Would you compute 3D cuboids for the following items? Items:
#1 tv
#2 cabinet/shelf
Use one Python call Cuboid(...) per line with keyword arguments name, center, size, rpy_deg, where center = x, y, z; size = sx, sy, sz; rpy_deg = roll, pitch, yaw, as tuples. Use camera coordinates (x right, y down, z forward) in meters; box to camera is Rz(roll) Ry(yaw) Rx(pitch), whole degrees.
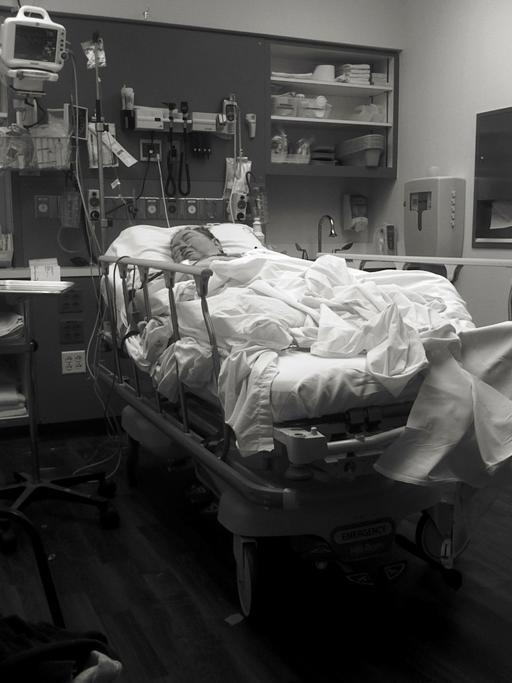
Cuboid(name="tv", center=(-1.025, -1.343, 2.474), size=(0.254, 0.230, 0.144), rpy_deg=(-8, 17, -37))
Cuboid(name="cabinet/shelf", center=(0.554, -1.772, 4.107), size=(1.132, 0.981, 0.367), rpy_deg=(-3, 8, -18))
